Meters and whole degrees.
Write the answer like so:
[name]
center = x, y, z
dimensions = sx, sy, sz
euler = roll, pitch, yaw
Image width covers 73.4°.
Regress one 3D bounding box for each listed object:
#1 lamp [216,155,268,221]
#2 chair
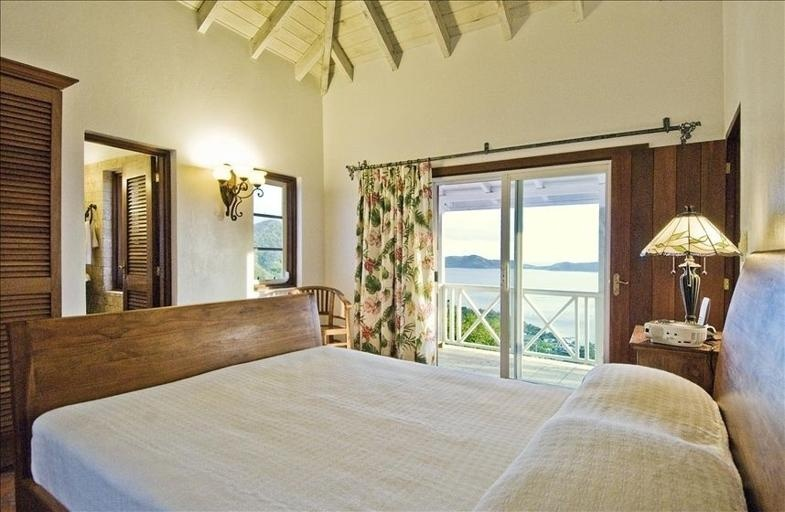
[lamp]
center = -1.455, -0.616, 4.956
dimensions = 0.346, 0.508, 0.550
euler = -4, -4, 32
[chair]
center = -0.764, 0.717, 5.377
dimensions = 0.619, 0.762, 0.573
euler = -3, 6, -34
